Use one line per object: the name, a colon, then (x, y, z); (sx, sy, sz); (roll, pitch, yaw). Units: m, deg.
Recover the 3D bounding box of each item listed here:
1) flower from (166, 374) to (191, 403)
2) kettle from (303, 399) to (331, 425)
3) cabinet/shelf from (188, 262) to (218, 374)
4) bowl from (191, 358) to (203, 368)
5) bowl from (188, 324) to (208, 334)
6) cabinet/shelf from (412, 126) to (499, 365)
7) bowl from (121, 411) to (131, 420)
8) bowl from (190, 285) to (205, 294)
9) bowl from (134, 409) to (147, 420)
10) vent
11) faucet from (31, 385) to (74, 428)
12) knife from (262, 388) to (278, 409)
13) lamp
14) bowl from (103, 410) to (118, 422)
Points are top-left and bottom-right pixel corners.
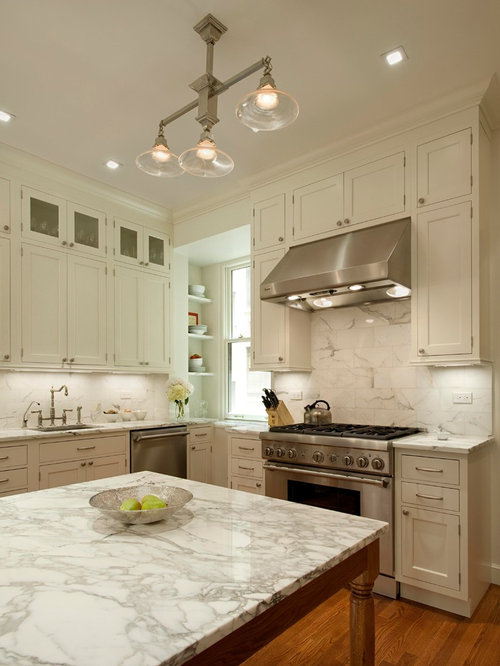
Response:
flower: (-0.604, 0.486, 4.462); (0.197, 0.215, 0.219); (3, 0, 9)
kettle: (0.460, 0.553, 3.670); (0.188, 0.156, 0.170); (4, -11, -7)
cabinet/shelf: (-0.481, -0.163, 5.325); (0.277, 1.095, 0.418); (3, 0, -21)
bowl: (-0.511, 0.291, 5.186); (0.066, 0.107, 0.139); (3, 0, 29)
bowl: (-0.488, -0.033, 5.236); (0.125, 0.099, 0.282); (3, 0, 25)
cabinet/shelf: (1.080, -0.469, 2.894); (0.127, 1.329, 0.447); (3, 0, -33)
bowl: (-0.993, 0.680, 4.296); (0.046, 0.074, 0.102); (3, 0, 32)
bowl: (-0.526, -0.421, 5.254); (0.114, 0.071, 0.110); (-2, -2, 0)
bowl: (-0.912, 0.687, 4.386); (0.085, 0.066, 0.089); (1, 4, 0)
vent: (0.609, -0.431, 3.365); (0.579, 0.558, 0.983); (2, 0, -44)
faucet: (-1.432, 0.553, 3.880); (0.314, 0.290, 0.277); (7, -19, -43)
knife: (0.169, 0.463, 3.813); (0.043, 0.150, 0.102); (-11, -16, -48)
lamp: (-0.147, -0.870, 1.944); (0.733, 0.526, 0.202); (-6, -7, 42)
bowl: (-1.119, 0.672, 4.241); (0.097, 0.069, 0.093); (1, -1, 0)
